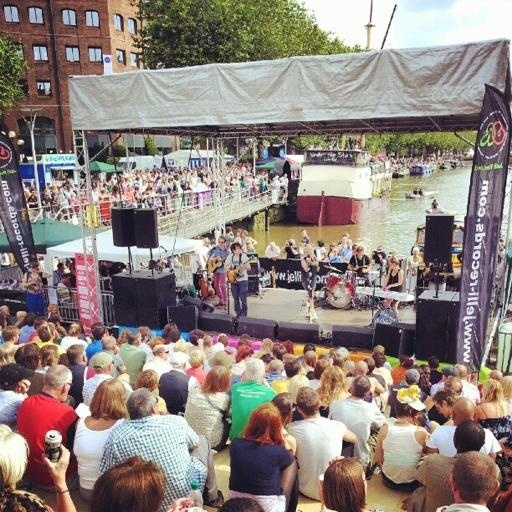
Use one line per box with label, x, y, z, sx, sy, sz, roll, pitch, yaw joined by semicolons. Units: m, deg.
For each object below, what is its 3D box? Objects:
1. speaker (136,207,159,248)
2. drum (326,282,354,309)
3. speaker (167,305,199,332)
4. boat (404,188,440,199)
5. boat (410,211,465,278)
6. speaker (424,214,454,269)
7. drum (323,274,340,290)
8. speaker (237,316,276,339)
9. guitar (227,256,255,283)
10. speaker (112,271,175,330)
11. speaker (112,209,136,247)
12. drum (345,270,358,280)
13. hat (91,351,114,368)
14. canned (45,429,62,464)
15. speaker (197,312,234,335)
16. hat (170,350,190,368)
speaker;-1.939;-0.474;11.842;0.388;0.678;0.227;-1;7;6
drum;1.732;0.849;13.912;0.527;0.568;0.565;3;10;8
speaker;-1.257;1.081;11.650;0.484;0.467;0.458;0;-8;2
boat;14.588;-5.460;59.125;1.145;0.985;3.871;35;27;25
boat;5.109;-0.543;18.689;1.862;1.641;3.407;1;-1;16
speaker;3.012;-0.232;11.146;0.446;0.913;0.411;4;10;13
drum;1.607;0.547;14.298;0.311;0.297;0.299;4;-3;4
speaker;0.024;1.213;11.331;0.641;0.422;0.324;7;22;23
guitar;-0.365;0.241;13.112;0.483;0.625;0.266;1;10;-4
speaker;-1.917;0.707;11.976;1.305;1.194;0.918;0;3;11
speaker;-2.321;-0.520;11.858;0.449;0.804;0.550;3;8;15
drum;2.001;0.446;14.278;0.298;0.214;0.168;2;-4;-38
hat;-1.674;1.136;7.293;0.223;0.181;0.259;-1;10;-14
canned;-1.561;1.460;5.185;0.119;0.241;0.156;-1;11;-16
speaker;-0.678;1.105;11.735;0.650;0.429;0.346;5;55;7
hat;-0.916;1.246;7.995;0.166;0.123;0.239;5;18;-2
